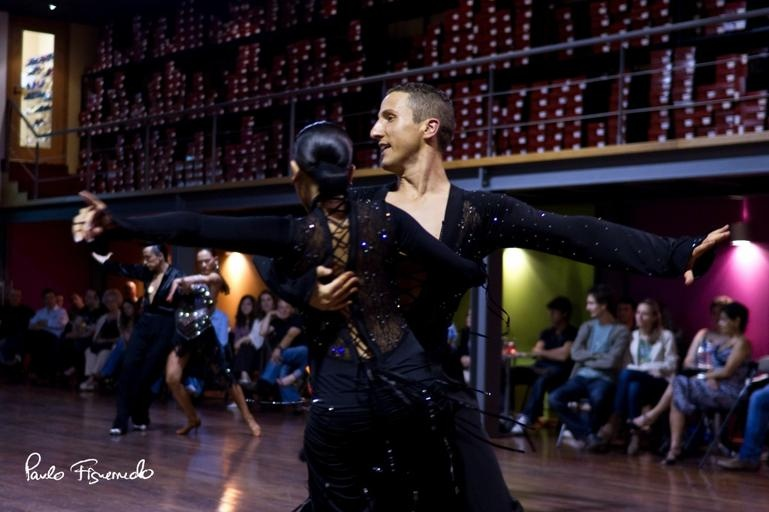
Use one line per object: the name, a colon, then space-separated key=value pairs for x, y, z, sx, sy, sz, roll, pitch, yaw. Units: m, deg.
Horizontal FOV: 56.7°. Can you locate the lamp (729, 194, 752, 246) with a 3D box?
lamp: x=4.310 y=-0.426 z=8.563 sx=0.211 sy=0.600 sz=0.178 roll=0 pitch=-3 yaw=33

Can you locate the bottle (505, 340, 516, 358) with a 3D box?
bottle: x=1.438 y=1.059 z=8.148 sx=0.164 sy=0.178 sz=0.163 roll=1 pitch=-8 yaw=-9
